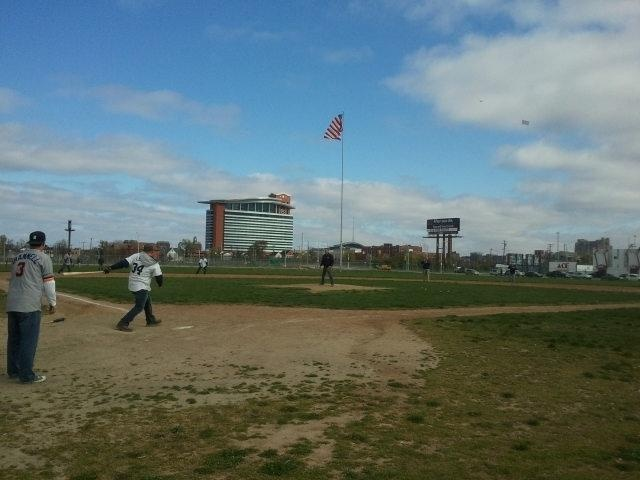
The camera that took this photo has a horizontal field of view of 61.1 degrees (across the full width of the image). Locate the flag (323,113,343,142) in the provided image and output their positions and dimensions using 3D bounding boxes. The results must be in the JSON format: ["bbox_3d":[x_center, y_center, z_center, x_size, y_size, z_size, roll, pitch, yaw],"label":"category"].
[{"bbox_3d":[1.169,-8.929,42.604,1.095,2.207,1.943,-1,-1,11],"label":"flag"}]

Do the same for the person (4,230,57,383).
[{"bbox_3d":[-5.014,1.122,9.381,0.742,2.536,1.045,0,-1,-24],"label":"person"}]

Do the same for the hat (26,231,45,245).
[{"bbox_3d":[-4.540,-0.014,8.662,0.273,0.177,0.345,2,3,-13],"label":"hat"}]

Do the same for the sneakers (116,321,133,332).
[{"bbox_3d":[-4.593,2.080,12.835,0.441,0.171,0.164,3,0,-6],"label":"sneakers"}]

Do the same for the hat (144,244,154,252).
[{"bbox_3d":[-4.184,0.196,13.236,0.196,0.166,0.243,-10,-11,-38],"label":"hat"}]
